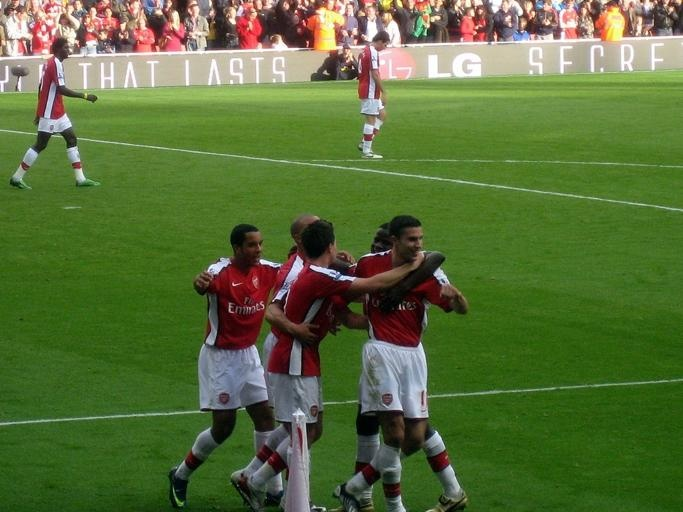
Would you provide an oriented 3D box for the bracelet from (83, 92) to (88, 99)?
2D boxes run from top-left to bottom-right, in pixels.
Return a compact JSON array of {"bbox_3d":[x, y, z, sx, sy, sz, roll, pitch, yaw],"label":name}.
[{"bbox_3d":[-3.831,-2.399,19.097,0.038,0.095,0.112,12,-21,8],"label":"bracelet"}]

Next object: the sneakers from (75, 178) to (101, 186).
[{"bbox_3d":[-3.962,-1.145,19.894,0.277,0.102,0.139,-4,5,-8],"label":"sneakers"}]

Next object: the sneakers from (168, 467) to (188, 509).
[{"bbox_3d":[-1.431,1.983,10.948,0.129,0.356,0.168,0,-18,-45],"label":"sneakers"}]

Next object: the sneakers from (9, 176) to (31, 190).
[{"bbox_3d":[-4.988,-1.134,19.772,0.263,0.095,0.185,14,-28,-18],"label":"sneakers"}]

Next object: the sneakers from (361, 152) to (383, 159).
[{"bbox_3d":[0.518,-1.748,22.069,0.383,0.139,0.124,0,7,-5],"label":"sneakers"}]

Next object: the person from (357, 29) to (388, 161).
[{"bbox_3d":[0.548,-2.751,21.886,0.486,2.148,0.649,0,6,1],"label":"person"}]
